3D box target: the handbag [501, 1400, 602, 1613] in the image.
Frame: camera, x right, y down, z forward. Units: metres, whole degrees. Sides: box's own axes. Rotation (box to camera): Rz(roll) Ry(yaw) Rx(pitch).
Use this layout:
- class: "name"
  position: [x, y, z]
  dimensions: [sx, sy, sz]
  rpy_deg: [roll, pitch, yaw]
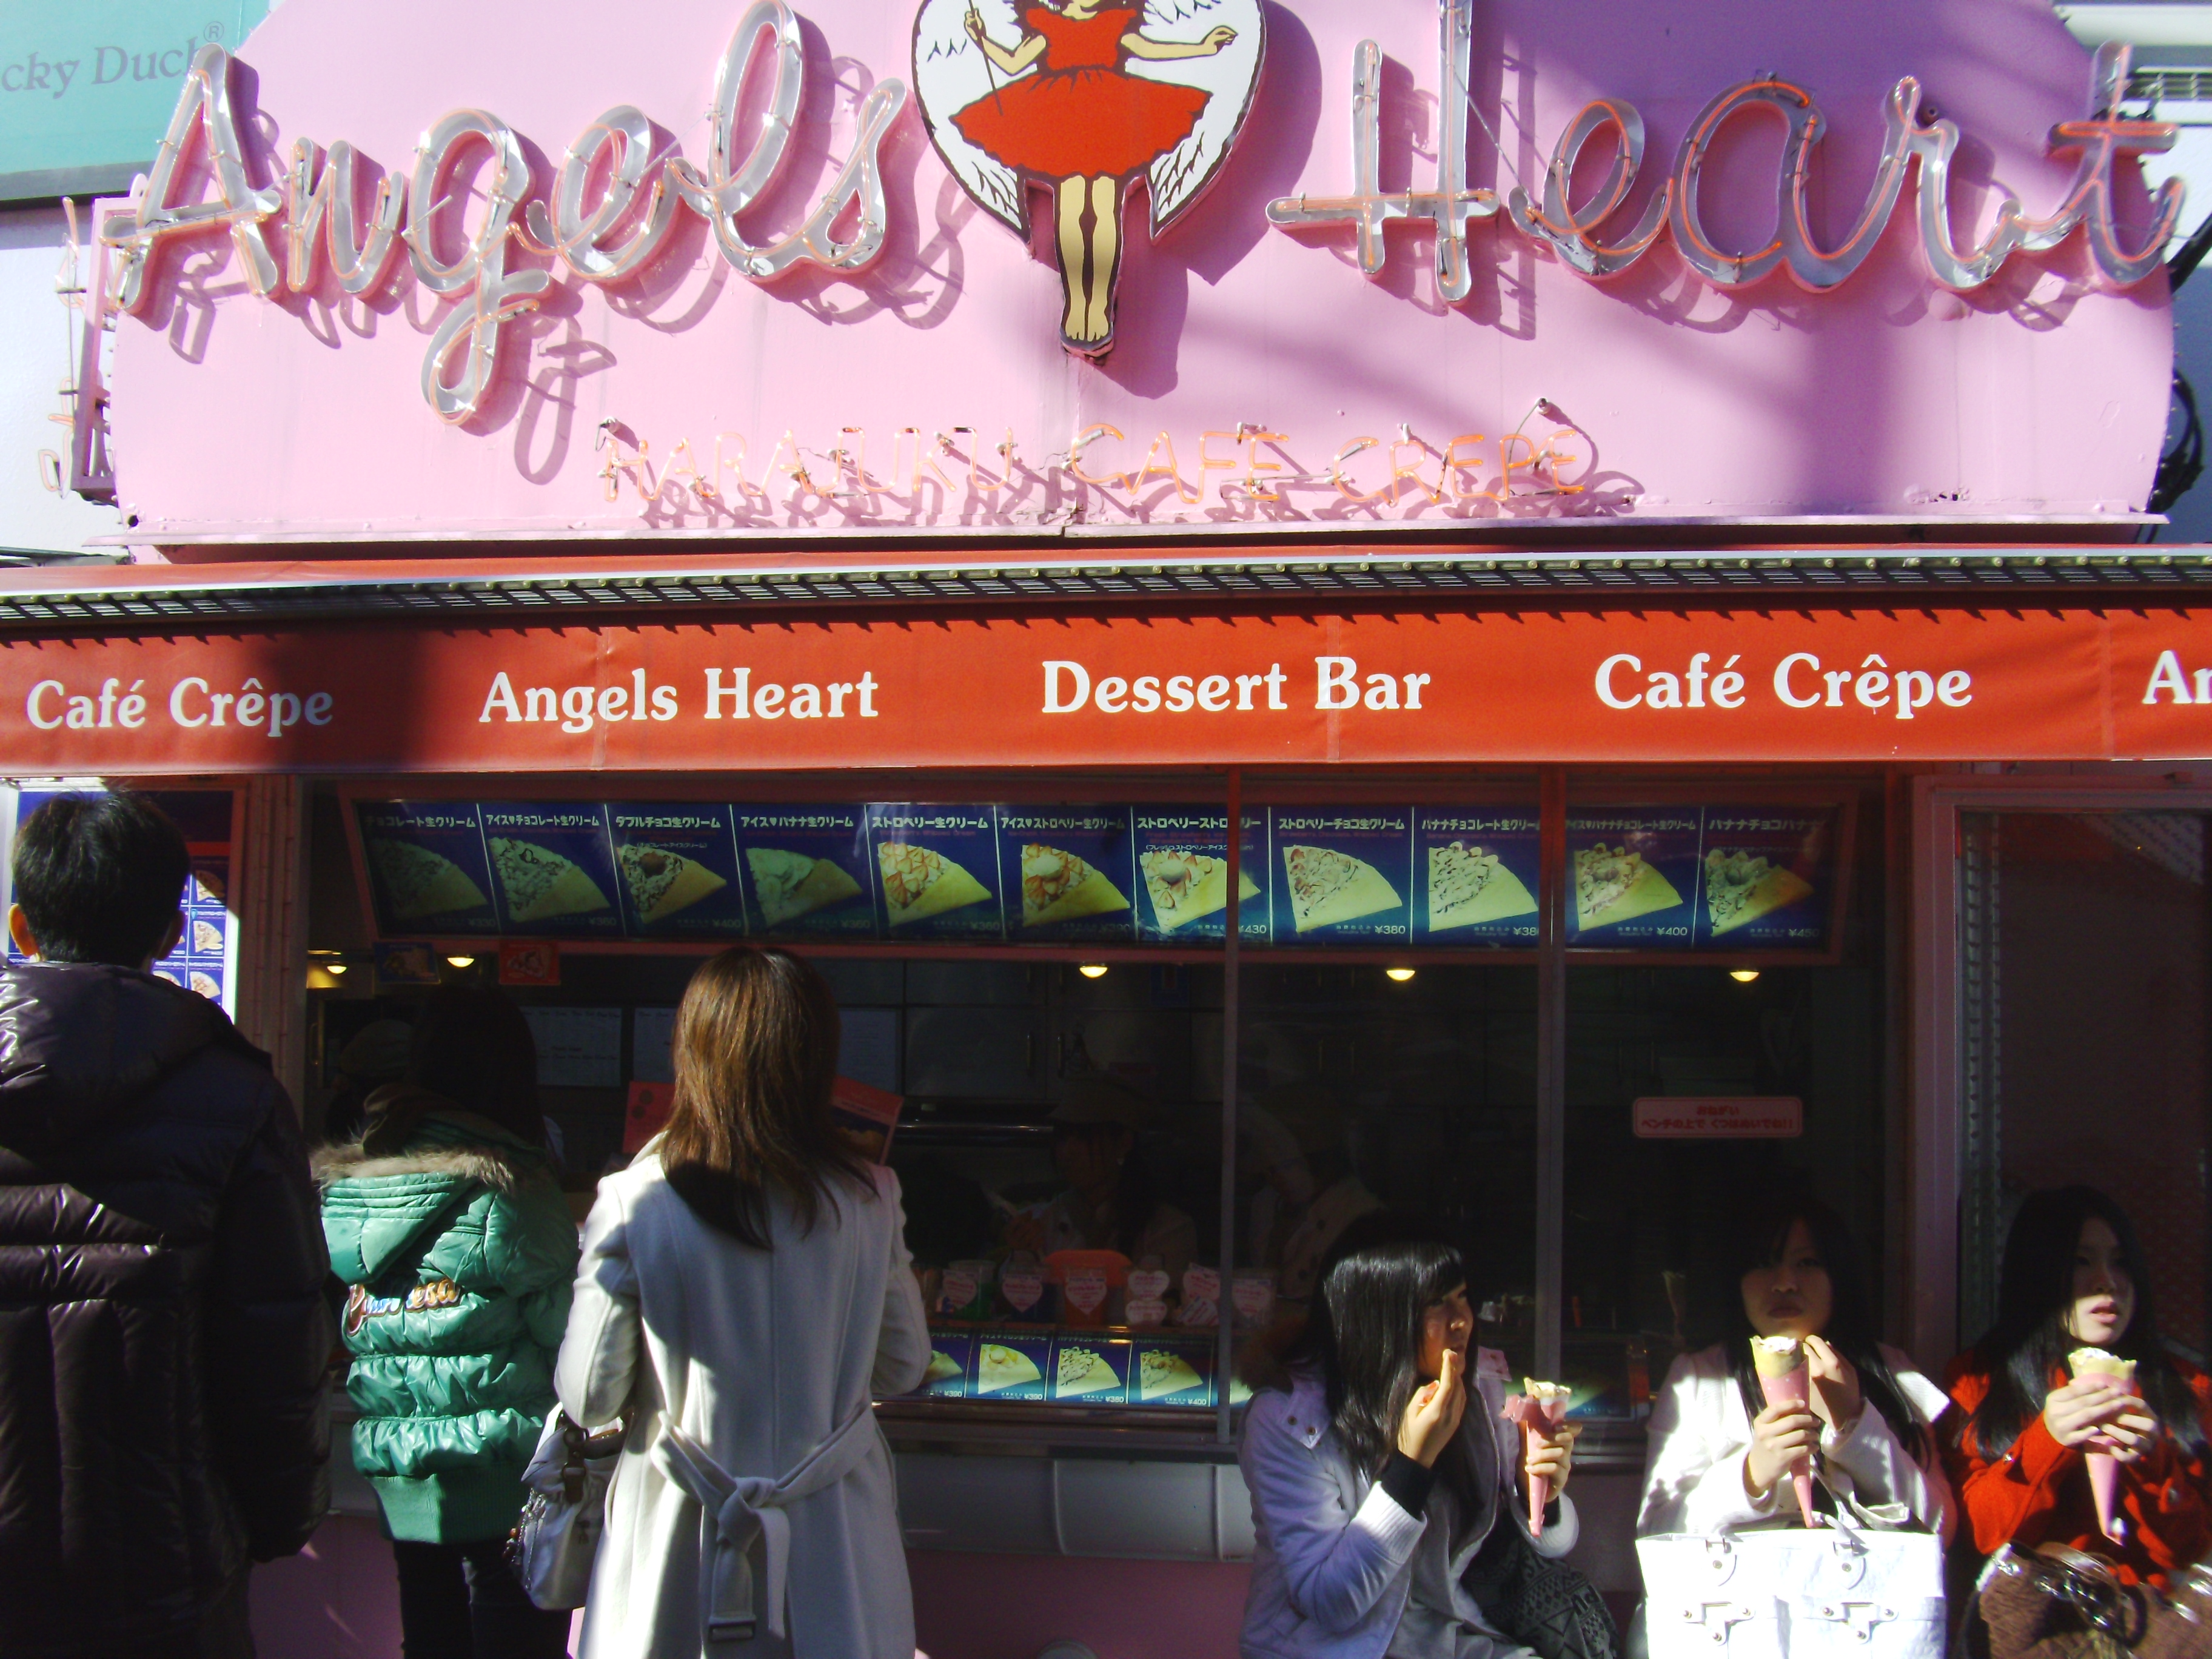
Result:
- class: "handbag"
  position: [-1.346, 1.676, 6.036]
  dimensions: [0.273, 0.468, 0.247]
  rpy_deg: [5, 6, 32]

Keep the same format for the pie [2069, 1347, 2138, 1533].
- class: "pie"
  position: [2.744, 1.688, 6.637]
  dimensions: [0.148, 0.556, 0.350]
  rpy_deg: [-2, -3, 23]
